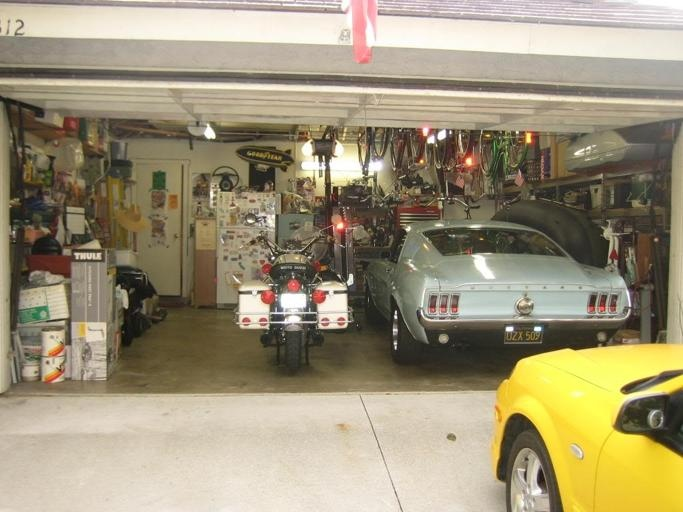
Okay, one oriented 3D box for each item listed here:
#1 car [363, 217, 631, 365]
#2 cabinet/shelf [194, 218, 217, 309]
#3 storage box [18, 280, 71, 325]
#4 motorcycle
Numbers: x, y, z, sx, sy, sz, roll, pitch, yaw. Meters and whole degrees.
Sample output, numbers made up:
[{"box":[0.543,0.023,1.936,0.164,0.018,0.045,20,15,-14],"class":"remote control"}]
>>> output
[{"box":[1.402,0.230,6.195,1.491,0.772,2.573,1,4,-7],"class":"car"},{"box":[-2.544,0.133,10.980,0.400,1.643,0.331,-1,9,-4],"class":"cabinet/shelf"},{"box":[-3.191,0.507,6.111,0.321,0.368,0.564,-8,-4,34],"class":"storage box"},{"box":[-0.520,0.446,6.570,1.194,1.729,1.287,-1,8,-1],"class":"motorcycle"}]
